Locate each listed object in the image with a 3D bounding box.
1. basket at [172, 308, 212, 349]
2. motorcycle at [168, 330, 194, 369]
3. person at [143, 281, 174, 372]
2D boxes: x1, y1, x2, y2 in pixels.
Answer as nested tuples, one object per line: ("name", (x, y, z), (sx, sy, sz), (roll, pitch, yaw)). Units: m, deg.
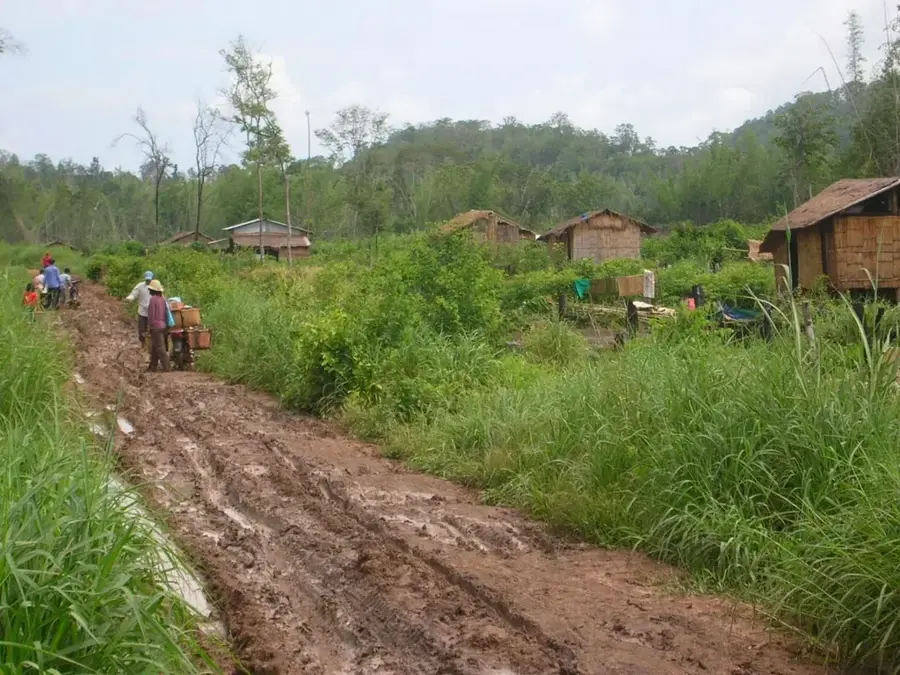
("basket", (-5.117, -0.214, 18.345), (0.524, 0.869, 0.871), (-2, 2, -42))
("motorcycle", (-5.272, 0.229, 17.928), (0.635, 0.908, 0.452), (1, -1, -6))
("person", (-5.709, -0.276, 17.844), (0.439, 1.778, 0.806), (-2, 2, -19))
